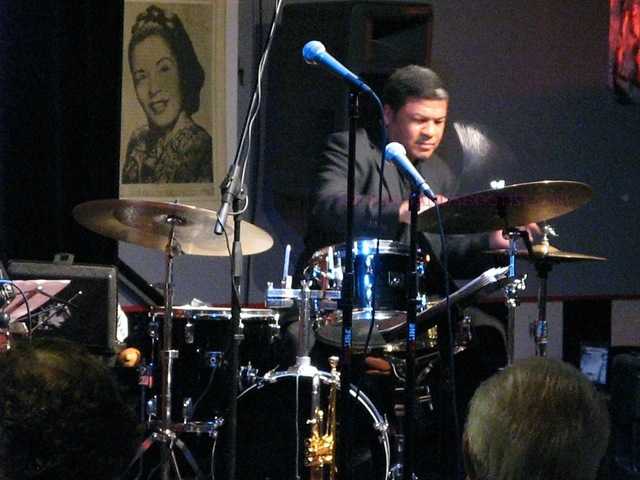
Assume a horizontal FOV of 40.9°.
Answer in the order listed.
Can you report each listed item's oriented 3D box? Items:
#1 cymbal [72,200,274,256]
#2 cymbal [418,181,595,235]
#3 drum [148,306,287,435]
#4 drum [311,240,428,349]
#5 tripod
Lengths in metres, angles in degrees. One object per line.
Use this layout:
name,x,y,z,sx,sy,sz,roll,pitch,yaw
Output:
cymbal,-0.810,-0.071,4.508,0.520,0.115,0.552,-1,-21,26
cymbal,0.924,-0.187,4.283,0.747,0.094,0.785,-2,-19,35
drum,-0.515,0.664,4.554,0.573,0.647,0.615,0,-4,7
drum,0.308,0.227,4.599,0.574,0.480,0.573,3,4,-45
tripod,-0.757,0.578,4.485,0.355,1.343,0.469,4,-8,-13
